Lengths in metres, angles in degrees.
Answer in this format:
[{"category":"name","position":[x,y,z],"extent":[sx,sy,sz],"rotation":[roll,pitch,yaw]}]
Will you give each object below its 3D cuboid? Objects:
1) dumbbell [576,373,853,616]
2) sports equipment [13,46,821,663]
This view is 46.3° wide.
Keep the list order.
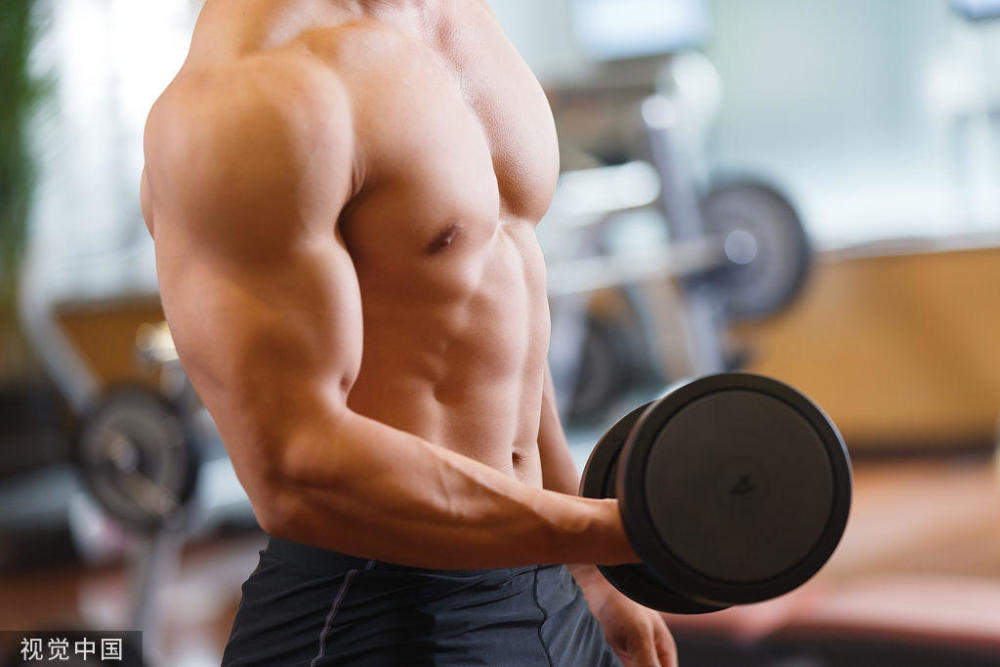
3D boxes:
[{"category":"dumbbell","position":[0.467,0.310,2.316],"extent":[0.461,0.083,0.442],"rotation":[-9,78,1]},{"category":"sports equipment","position":[-0.192,-0.093,4.593],"extent":[2.626,1.931,1.774],"rotation":[-9,92,7]}]
